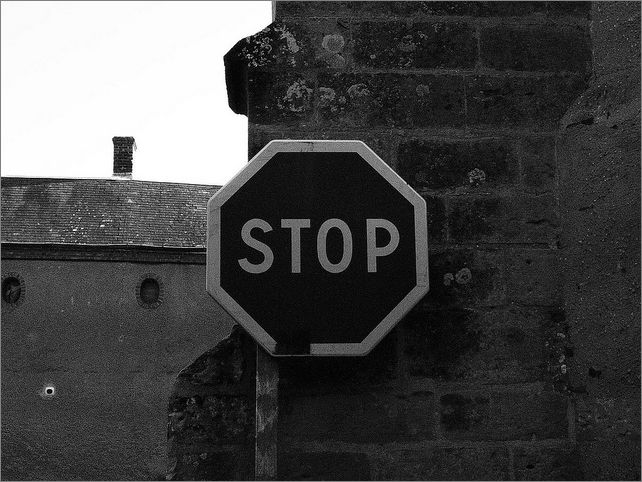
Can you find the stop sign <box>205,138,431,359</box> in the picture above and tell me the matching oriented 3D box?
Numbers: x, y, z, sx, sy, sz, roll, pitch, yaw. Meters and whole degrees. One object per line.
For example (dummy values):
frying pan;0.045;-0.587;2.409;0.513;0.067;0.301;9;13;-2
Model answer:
stop sign;-0.014;0.114;10.654;1.825;1.610;0.229;-1;-6;-3
